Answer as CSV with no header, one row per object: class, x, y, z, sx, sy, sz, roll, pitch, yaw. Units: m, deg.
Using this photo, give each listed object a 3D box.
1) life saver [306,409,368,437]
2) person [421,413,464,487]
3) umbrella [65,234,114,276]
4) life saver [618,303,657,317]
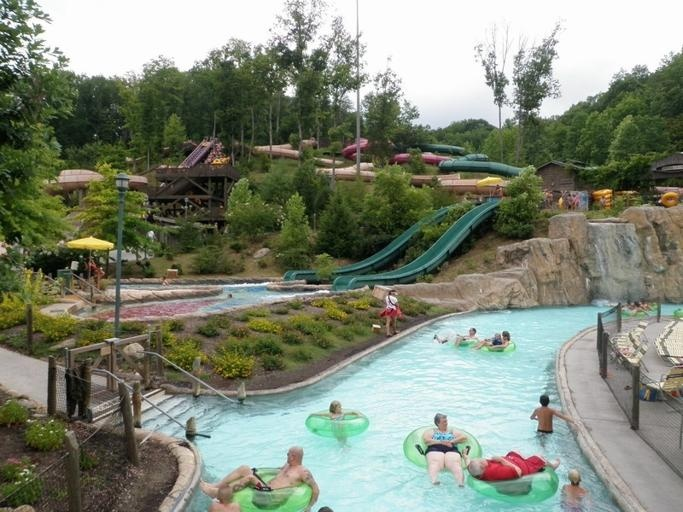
life saver,-0.100,5.178,18.491,1.858,0.698,0.572,-3,5,-3
person,2.882,5.355,16.858,1.092,1.534,1.309,-2,5,5
umbrella,-13.997,0.098,34.074,3.112,1.387,3.100,1,0,38
life saver,16.711,3.073,33.587,1.228,0.276,1.254,-3,5,-1
